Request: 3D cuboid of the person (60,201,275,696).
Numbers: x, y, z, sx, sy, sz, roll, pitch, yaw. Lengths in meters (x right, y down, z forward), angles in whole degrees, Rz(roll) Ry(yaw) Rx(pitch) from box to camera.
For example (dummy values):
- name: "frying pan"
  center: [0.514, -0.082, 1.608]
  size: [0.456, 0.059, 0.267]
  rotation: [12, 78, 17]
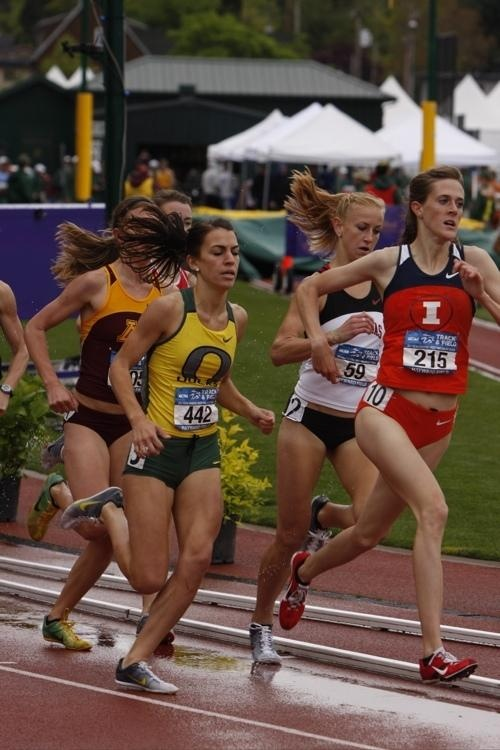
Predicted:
- name: "person"
  center: [-0.248, 0.231, 2.827]
  size: [0.552, 1.831, 0.653]
  rotation: [1, -4, -10]

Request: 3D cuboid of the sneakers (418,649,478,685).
- name: "sneakers"
  center: [0.590, 0.862, 2.283]
  size: [0.212, 0.101, 0.079]
  rotation: [-19, -18, 39]

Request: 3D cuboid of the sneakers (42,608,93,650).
- name: "sneakers"
  center: [-0.802, 1.109, 3.436]
  size: [0.312, 0.133, 0.095]
  rotation: [12, 13, 32]

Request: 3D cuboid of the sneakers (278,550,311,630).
- name: "sneakers"
  center: [0.175, 0.956, 3.439]
  size: [0.130, 0.347, 0.147]
  rotation: [3, 19, -22]

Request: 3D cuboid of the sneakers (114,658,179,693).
- name: "sneakers"
  center: [-0.361, 1.051, 2.707]
  size: [0.219, 0.134, 0.119]
  rotation: [0, -4, 0]

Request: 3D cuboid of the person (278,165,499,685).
- name: "person"
  center: [0.544, 0.162, 2.801]
  size: [0.501, 1.771, 1.046]
  rotation: [2, -4, -30]

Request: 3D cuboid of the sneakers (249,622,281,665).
- name: "sneakers"
  center: [0.055, 1.122, 3.230]
  size: [0.071, 0.089, 0.213]
  rotation: [1, -2, -11]
